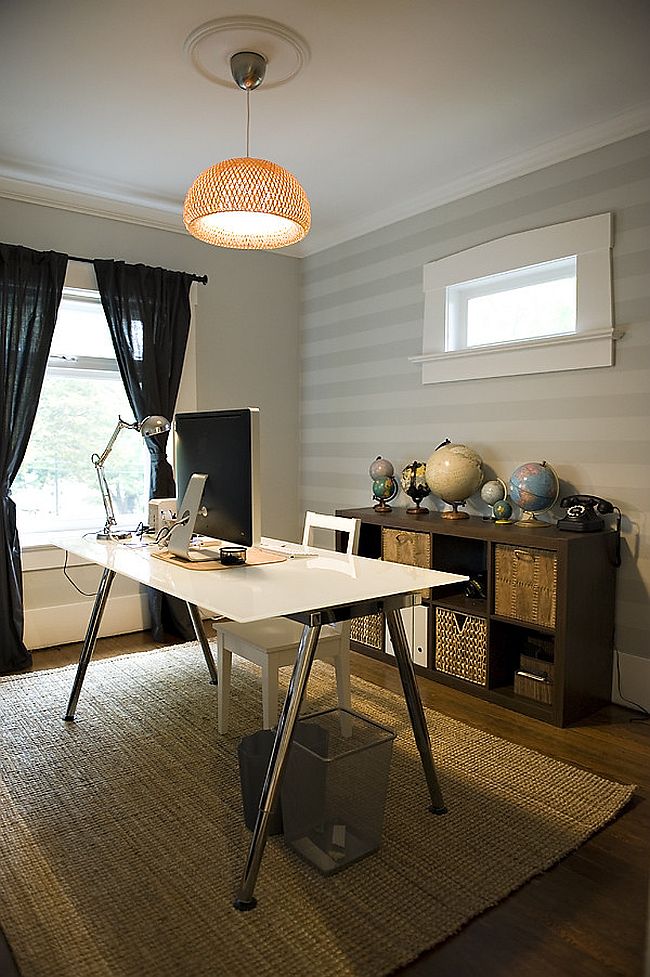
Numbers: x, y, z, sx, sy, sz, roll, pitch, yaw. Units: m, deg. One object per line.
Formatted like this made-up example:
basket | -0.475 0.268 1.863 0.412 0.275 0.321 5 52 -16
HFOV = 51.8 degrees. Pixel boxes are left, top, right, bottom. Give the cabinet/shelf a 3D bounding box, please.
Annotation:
cabinet/shelf | 0.570 0.466 3.049 1.153 0.737 0.344 7 13 41

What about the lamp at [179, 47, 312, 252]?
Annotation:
lamp | -0.282 -1.160 2.353 0.404 0.637 0.718 -1 2 -10

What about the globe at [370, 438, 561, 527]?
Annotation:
globe | 0.642 -0.060 3.238 0.301 0.449 1.056 -4 7 -42

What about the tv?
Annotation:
tv | -0.351 -0.001 2.136 0.048 0.441 0.489 -3 5 -32

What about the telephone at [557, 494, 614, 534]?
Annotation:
telephone | 1.024 0.095 2.657 0.139 0.157 0.198 2 -2 -38
